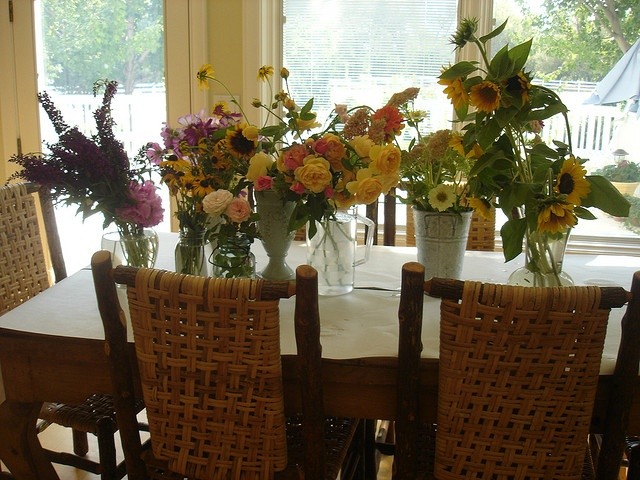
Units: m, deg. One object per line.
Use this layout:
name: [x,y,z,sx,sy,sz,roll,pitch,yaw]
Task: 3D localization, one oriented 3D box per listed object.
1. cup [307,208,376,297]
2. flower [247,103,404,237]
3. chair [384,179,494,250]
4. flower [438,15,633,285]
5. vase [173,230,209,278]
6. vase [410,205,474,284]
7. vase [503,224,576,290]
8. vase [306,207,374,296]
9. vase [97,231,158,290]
cup: [0.063,-0.003,1.702,0.251,0.300,0.164,2,21,4]
flower: [-0.007,-0.163,1.511,0.348,0.398,0.376,-4,-8,-12]
chair: [0.569,-0.090,2.371,0.336,0.288,0.303,0,3,16]
flower: [0.481,-0.209,1.322,0.401,0.636,0.443,0,13,-1]
vase: [-0.371,0.019,1.578,0.084,0.158,0.087,-6,21,-38]
vase: [0.330,0.013,1.648,0.195,0.248,0.205,0,1,-4]
vase: [0.573,0.068,1.358,0.098,0.224,0.092,-2,19,12]
vase: [0.067,0.004,1.720,0.252,0.303,0.166,2,21,5]
vase: [-0.563,0.051,1.600,0.128,0.111,0.118,4,6,35]
